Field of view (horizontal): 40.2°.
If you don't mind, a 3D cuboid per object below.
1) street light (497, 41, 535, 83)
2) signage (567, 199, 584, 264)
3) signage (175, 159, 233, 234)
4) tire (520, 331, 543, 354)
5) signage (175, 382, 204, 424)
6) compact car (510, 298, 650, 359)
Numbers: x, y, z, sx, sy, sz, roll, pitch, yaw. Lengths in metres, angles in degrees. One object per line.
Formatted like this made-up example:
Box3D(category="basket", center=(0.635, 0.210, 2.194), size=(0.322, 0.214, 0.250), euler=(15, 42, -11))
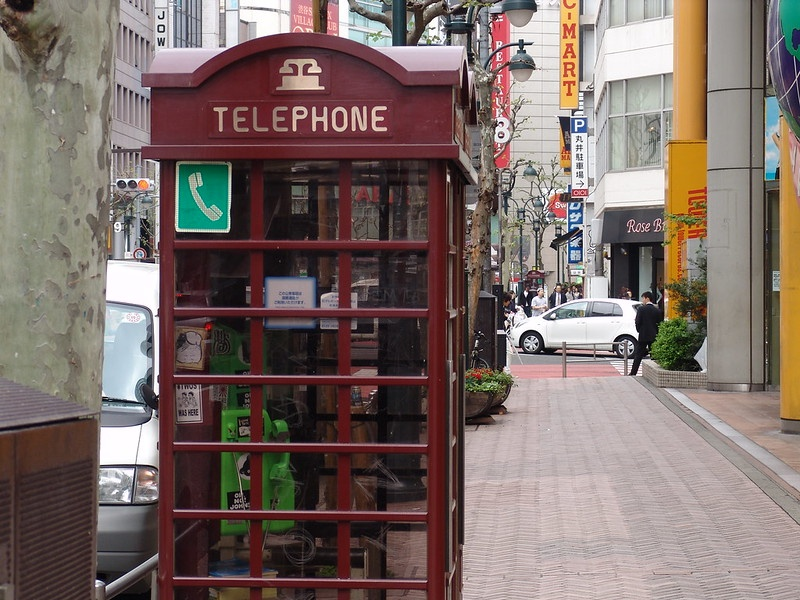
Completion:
Box3D(category="street light", center=(2.005, -3.960, 18.113), size=(0.406, 0.650, 0.438), euler=(-1, 2, 8))
Box3D(category="signage", center=(8.978, -3.514, 57.374), size=(0.876, 3.482, 0.648), euler=(-2, 3, -19))
Box3D(category="signage", center=(-0.962, -0.515, 5.351), size=(0.272, 0.382, 0.020), euler=(-1, 28, -12))
Box3D(category="tire", center=(3.472, 1.049, 28.988), size=(0.532, 0.616, 0.199), euler=(0, 3, 33))
Box3D(category="signage", center=(-1.042, 0.492, 5.383), size=(0.172, 0.277, 0.025), euler=(-1, -3, -11))
Box3D(category="compact car", center=(4.709, 0.848, 28.660), size=(3.624, 1.688, 1.996), euler=(2, -13, 23))
